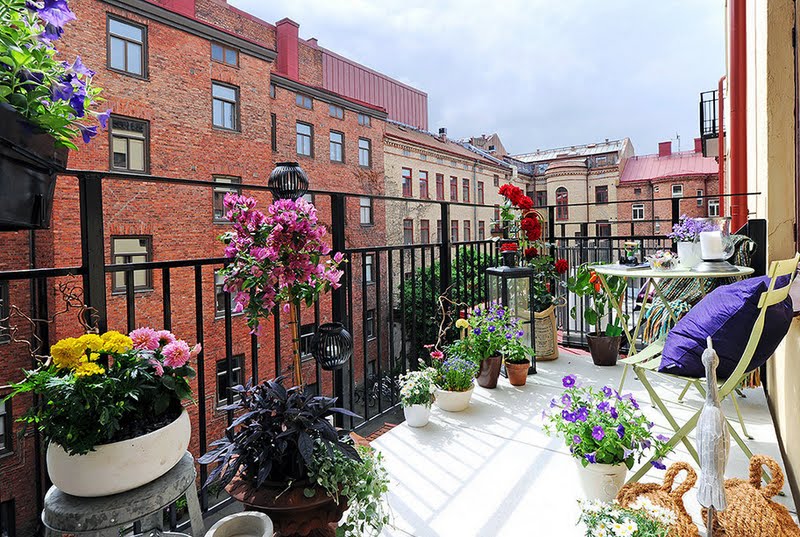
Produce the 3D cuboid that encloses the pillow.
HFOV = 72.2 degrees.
[{"bbox_3d":[1.829,0.330,3.277,0.540,0.587,0.802,-5,11,32],"label":"pillow"}]

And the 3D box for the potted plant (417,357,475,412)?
[{"bbox_3d":[0.342,0.865,4.147,0.339,0.367,0.417,0,-7,-4],"label":"potted plant"}]

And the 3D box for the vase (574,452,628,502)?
[{"bbox_3d":[1.175,1.209,3.190,0.303,0.235,0.315,5,-10,-31],"label":"vase"}]

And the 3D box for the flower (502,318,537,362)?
[{"bbox_3d":[0.957,0.622,4.657,0.280,0.331,0.371,-2,-4,3],"label":"flower"}]

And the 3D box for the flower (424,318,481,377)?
[{"bbox_3d":[0.453,0.625,4.555,0.406,0.556,0.466,-1,4,7],"label":"flower"}]

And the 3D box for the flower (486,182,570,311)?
[{"bbox_3d":[1.279,-0.224,5.316,0.625,1.218,1.189,-3,0,16],"label":"flower"}]

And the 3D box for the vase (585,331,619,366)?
[{"bbox_3d":[1.911,0.761,5.125,0.298,0.251,0.296,-7,-9,44],"label":"vase"}]

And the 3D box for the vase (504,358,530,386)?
[{"bbox_3d":[0.973,0.866,4.633,0.207,0.161,0.198,0,-3,-44],"label":"vase"}]

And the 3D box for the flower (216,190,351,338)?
[{"bbox_3d":[-0.625,-0.032,2.860,0.638,0.707,0.334,-3,0,-18],"label":"flower"}]

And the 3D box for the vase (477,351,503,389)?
[{"bbox_3d":[0.736,0.839,4.562,0.237,0.249,0.257,-2,1,1],"label":"vase"}]

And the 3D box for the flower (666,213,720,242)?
[{"bbox_3d":[2.119,-0.274,3.959,0.302,0.188,0.240,-3,0,43],"label":"flower"}]

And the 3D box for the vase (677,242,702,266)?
[{"bbox_3d":[2.064,-0.105,3.903,0.134,0.163,0.168,-1,-5,-2],"label":"vase"}]

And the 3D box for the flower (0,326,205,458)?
[{"bbox_3d":[-1.245,0.493,2.363,0.628,0.438,0.589,1,4,37],"label":"flower"}]

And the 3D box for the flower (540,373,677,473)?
[{"bbox_3d":[1.251,0.950,3.347,0.679,0.564,0.863,-3,0,18],"label":"flower"}]

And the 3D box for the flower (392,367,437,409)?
[{"bbox_3d":[0.108,0.846,4.011,0.249,0.284,0.291,-5,-4,39],"label":"flower"}]

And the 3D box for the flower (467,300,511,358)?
[{"bbox_3d":[0.735,0.500,4.662,0.438,0.461,0.378,1,-4,-21],"label":"flower"}]

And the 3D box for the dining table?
[{"bbox_3d":[1.938,0.319,4.081,1.089,1.029,1.032,1,3,18],"label":"dining table"}]

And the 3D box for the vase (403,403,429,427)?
[{"bbox_3d":[0.112,1.035,3.961,0.172,0.132,0.162,0,-2,9],"label":"vase"}]
